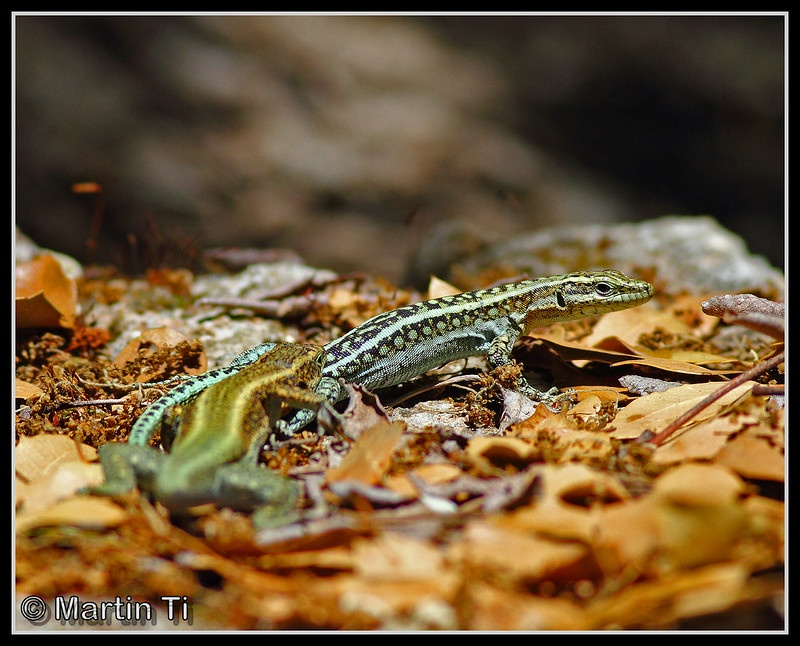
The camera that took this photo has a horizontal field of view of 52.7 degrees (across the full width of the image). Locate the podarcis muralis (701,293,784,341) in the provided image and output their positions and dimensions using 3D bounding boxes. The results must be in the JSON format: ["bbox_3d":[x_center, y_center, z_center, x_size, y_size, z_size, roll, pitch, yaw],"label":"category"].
[{"bbox_3d":[1.442,-0.034,3.370,0.535,0.132,0.107,7,6,-26],"label":"podarcis muralis"}]
